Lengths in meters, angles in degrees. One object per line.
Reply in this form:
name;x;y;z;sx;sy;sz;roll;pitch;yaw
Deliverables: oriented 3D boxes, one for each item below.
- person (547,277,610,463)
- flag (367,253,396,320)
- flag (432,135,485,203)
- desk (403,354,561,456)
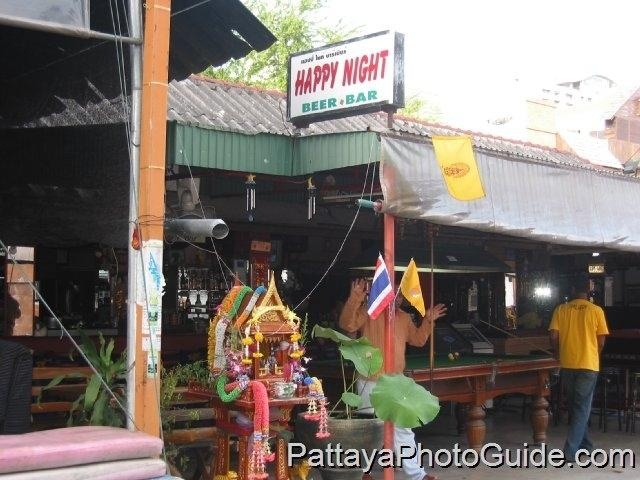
person;3.604;1.775;9.673;0.653;2.493;0.564;0;-5;-4
flag;0.679;0.530;7.984;0.295;0.750;0.449;-1;-5;4
flag;1.642;-0.860;8.212;0.674;0.775;0.313;3;-6;-35
desk;2.538;2.270;9.920;1.492;1.222;2.529;-7;-19;25
